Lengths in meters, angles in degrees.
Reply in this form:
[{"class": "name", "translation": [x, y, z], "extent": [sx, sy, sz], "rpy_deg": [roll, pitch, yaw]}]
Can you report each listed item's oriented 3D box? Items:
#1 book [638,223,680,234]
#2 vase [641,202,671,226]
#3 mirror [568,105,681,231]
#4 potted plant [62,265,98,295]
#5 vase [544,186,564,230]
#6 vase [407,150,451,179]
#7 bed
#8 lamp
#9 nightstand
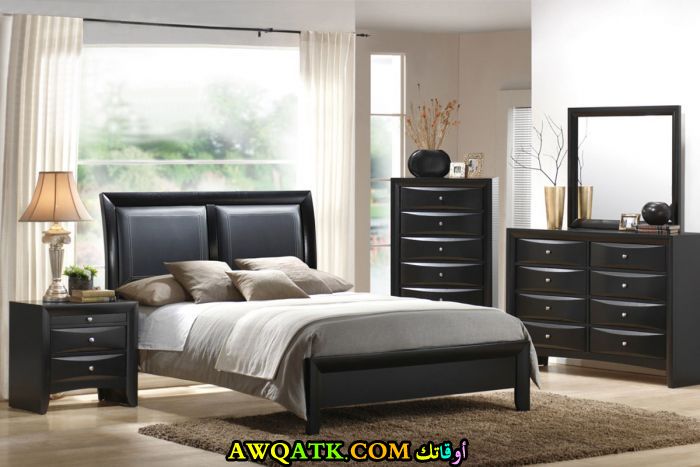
[{"class": "book", "translation": [2.638, -0.039, 5.473], "extent": [0.339, 0.088, 0.118], "rpy_deg": [-1, -1, 15]}, {"class": "vase", "translation": [2.651, -0.173, 5.551], "extent": [0.237, 0.186, 0.224], "rpy_deg": [1, 4, 19]}, {"class": "mirror", "translation": [2.559, -0.592, 5.869], "extent": [1.360, 1.389, 0.115], "rpy_deg": [1, 2, 36]}, {"class": "potted plant", "translation": [-2.118, 0.335, 5.059], "extent": [0.317, 0.262, 0.224], "rpy_deg": [0, 2, -11]}, {"class": "vase", "translation": [1.958, -0.252, 6.114], "extent": [0.182, 0.407, 0.318], "rpy_deg": [-1, -1, 17]}, {"class": "vase", "translation": [0.818, -0.724, 6.707], "extent": [0.367, 0.189, 0.344], "rpy_deg": [0, -1, 11]}, {"class": "bed", "translation": [-0.489, 0.440, 5.385], "extent": [2.205, 1.493, 3.078], "rpy_deg": [1, 0, -39]}, {"class": "lamp", "translation": [-2.411, -0.007, 5.185], "extent": [0.497, 0.707, 0.638], "rpy_deg": [-1, -1, -29]}, {"class": "nightstand", "translation": [-2.132, 0.796, 5.112], "extent": [1.140, 0.976, 0.863], "rpy_deg": [1, -2, -35]}]
